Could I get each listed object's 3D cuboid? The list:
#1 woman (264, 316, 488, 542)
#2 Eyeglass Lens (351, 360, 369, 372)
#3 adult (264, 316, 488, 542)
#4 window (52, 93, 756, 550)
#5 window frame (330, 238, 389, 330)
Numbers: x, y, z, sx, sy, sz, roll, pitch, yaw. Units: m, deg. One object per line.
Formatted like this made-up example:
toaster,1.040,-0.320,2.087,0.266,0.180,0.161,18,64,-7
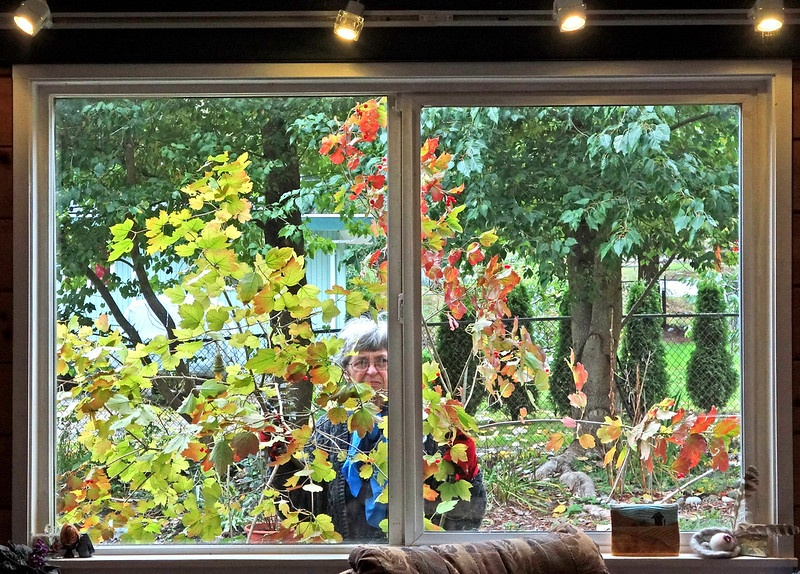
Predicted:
woman,-0.152,0.666,4.898,0.965,1.478,0.511,-1,-11,1
Eyeglass Lens,-0.180,0.347,4.910,0.062,0.024,0.061,0,-20,-1
adult,-0.152,0.666,4.898,0.965,1.478,0.511,-1,-11,1
window,0.017,0.155,5.031,3.867,2.311,0.217,-4,1,-30
window frame,-0.167,-0.082,4.922,0.336,0.317,0.152,-2,5,4
